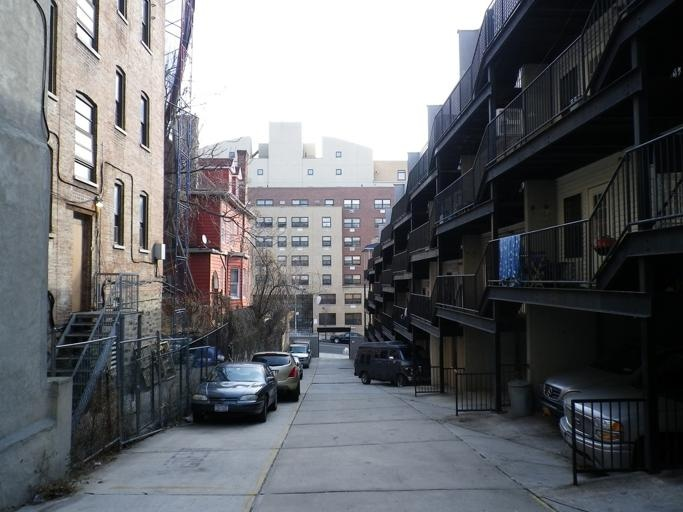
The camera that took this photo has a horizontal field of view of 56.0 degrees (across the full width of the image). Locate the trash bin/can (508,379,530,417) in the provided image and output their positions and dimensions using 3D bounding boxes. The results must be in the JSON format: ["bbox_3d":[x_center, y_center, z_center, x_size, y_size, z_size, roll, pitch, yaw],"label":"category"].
[{"bbox_3d":[4.610,3.764,16.931,0.633,1.230,0.747,-2,1,19],"label":"trash bin/can"}]

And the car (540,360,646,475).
[{"bbox_3d":[5.334,3.186,12.661,2.359,1.354,1.441,13,-13,-31],"label":"car"}]

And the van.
[{"bbox_3d":[2.346,4.791,28.629,1.301,1.916,4.324,5,-10,-34],"label":"van"}]
